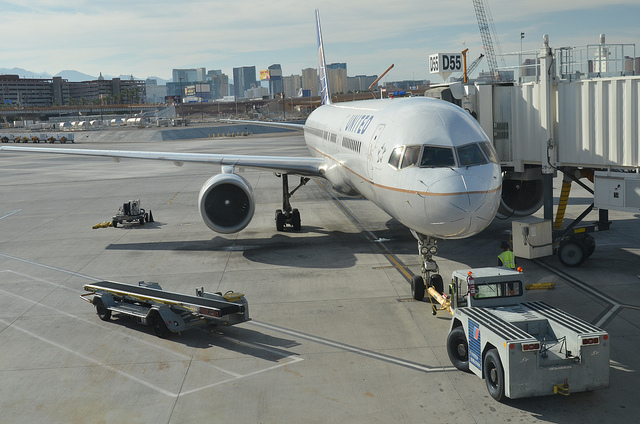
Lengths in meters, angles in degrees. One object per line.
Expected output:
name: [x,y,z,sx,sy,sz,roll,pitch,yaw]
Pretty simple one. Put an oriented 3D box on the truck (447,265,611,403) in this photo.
truck: [5.147,3.191,14.349,2.678,2.585,3.662,-10,15,-29]
